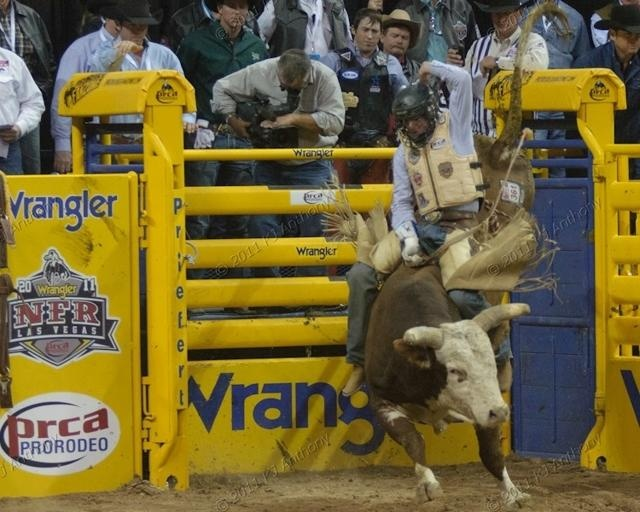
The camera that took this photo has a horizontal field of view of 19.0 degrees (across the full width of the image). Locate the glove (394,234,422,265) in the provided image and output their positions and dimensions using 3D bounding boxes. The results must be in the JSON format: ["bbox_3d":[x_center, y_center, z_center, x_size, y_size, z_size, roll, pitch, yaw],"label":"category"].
[{"bbox_3d":[0.722,-0.047,15.177,0.173,0.210,0.082,-3,-19,6],"label":"glove"}]

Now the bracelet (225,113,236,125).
[{"bbox_3d":[-0.791,-1.208,17.078,0.024,0.084,0.087,7,27,-34],"label":"bracelet"}]

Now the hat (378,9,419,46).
[{"bbox_3d":[0.717,-2.277,18.695,0.423,0.216,0.545,-15,12,-12],"label":"hat"}]
